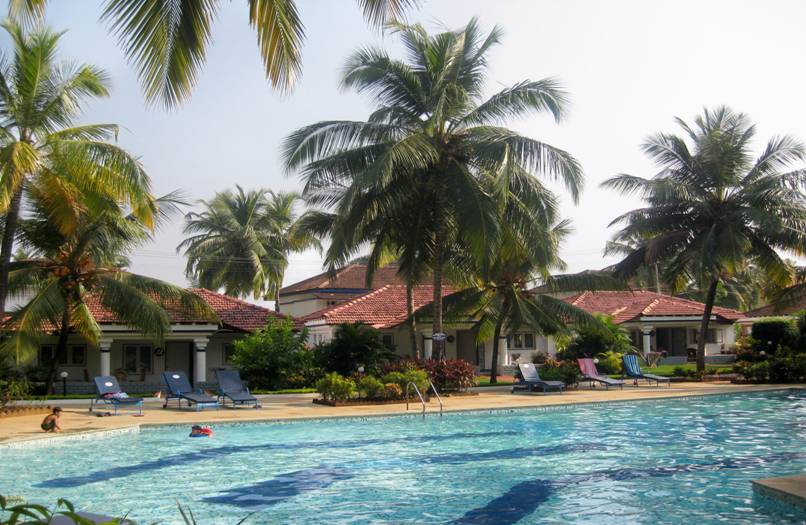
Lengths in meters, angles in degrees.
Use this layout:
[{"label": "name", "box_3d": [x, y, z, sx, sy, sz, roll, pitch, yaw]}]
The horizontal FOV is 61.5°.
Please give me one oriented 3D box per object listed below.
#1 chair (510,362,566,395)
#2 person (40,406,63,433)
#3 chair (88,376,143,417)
[{"label": "chair", "box_3d": [6.185, 5.267, 31.017, 1.283, 1.326, 2.101, 4, -8, -38]}, {"label": "person", "box_3d": [-10.740, 4.774, 20.749, 0.555, 0.745, 1.275, 4, -14, -28]}, {"label": "chair", "box_3d": [-10.502, 4.815, 24.795, 1.785, 1.257, 1.105, -3, -8, 33]}]
